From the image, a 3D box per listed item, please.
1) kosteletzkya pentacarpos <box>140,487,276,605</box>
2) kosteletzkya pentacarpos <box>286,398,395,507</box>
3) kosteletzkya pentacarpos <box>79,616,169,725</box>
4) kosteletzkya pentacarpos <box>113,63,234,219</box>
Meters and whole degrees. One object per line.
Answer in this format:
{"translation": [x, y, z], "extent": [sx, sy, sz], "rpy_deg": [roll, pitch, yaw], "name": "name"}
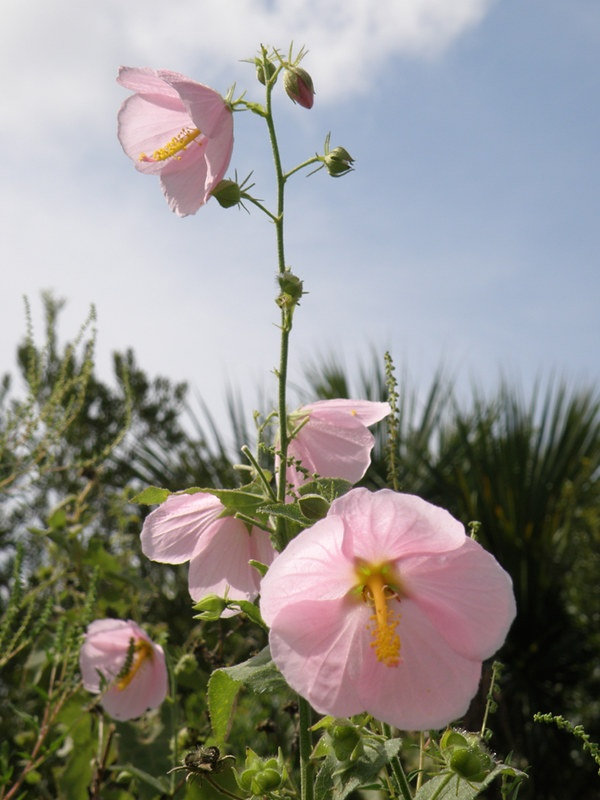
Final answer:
{"translation": [-0.131, 0.209, 1.601], "extent": [0.163, 0.183, 0.117], "rpy_deg": [7, 29, 29], "name": "kosteletzkya pentacarpos"}
{"translation": [0.046, 0.072, 1.577], "extent": [0.151, 0.130, 0.071], "rpy_deg": [2, 5, -42], "name": "kosteletzkya pentacarpos"}
{"translation": [-0.278, 0.417, 1.729], "extent": [0.152, 0.157, 0.076], "rpy_deg": [-8, -6, -24], "name": "kosteletzkya pentacarpos"}
{"translation": [-0.173, -0.376, 1.601], "extent": [0.111, 0.200, 0.194], "rpy_deg": [-22, 28, -29], "name": "kosteletzkya pentacarpos"}
